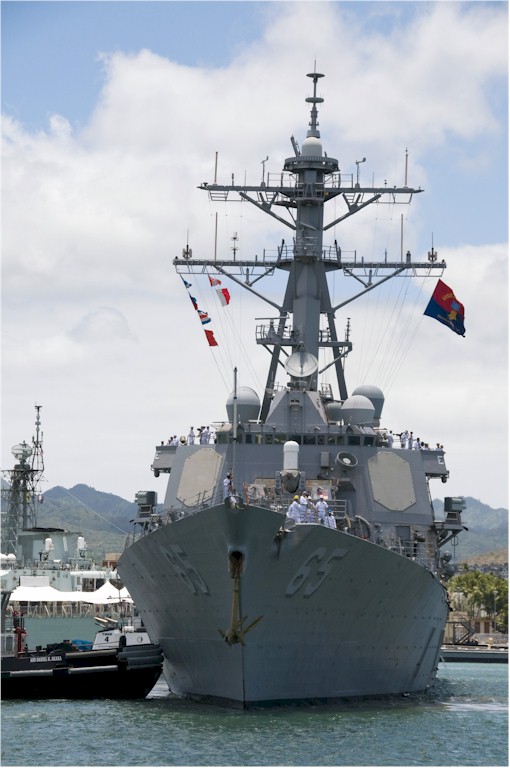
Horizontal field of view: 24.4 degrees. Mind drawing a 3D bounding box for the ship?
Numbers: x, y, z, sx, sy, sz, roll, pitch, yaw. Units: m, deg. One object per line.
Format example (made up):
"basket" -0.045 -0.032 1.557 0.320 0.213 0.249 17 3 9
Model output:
"ship" 1.027 -0.090 27.197 6.888 12.980 19.336 1 -5 8
